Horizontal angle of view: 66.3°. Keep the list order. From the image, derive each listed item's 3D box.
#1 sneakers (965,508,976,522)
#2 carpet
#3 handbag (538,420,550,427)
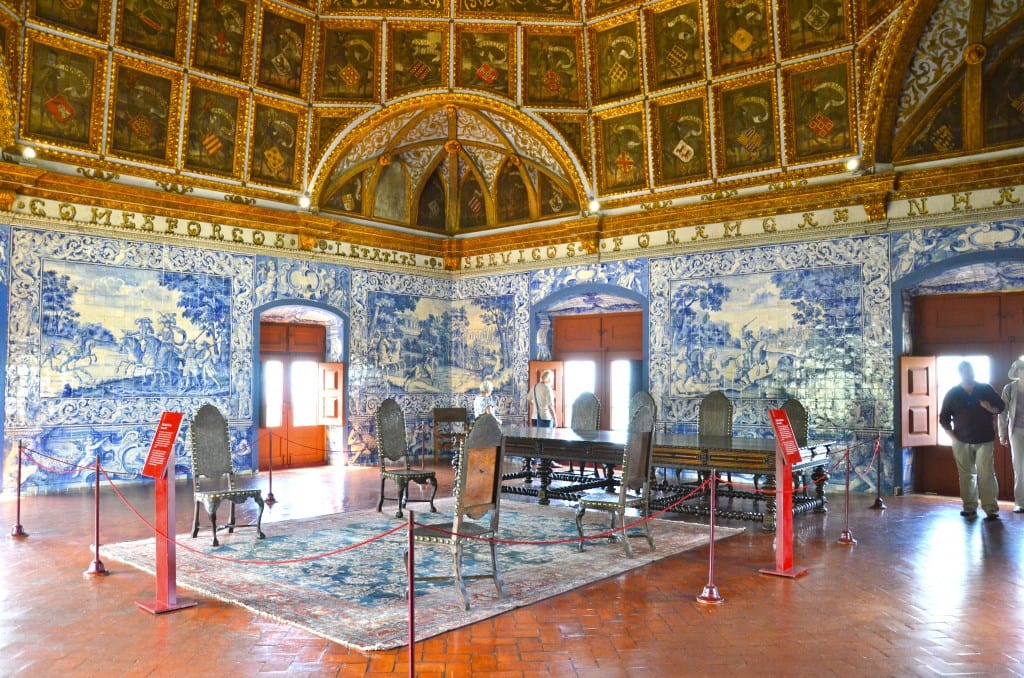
[{"bbox_3d":[7.198,2.792,12.315,0.172,0.154,0.132,4,-5,10],"label":"sneakers"},{"bbox_3d":[-1.256,3.020,10.337,7.540,0.990,4.162,3,-8,-18],"label":"carpet"},{"bbox_3d":[0.661,1.772,16.423,0.173,0.118,0.176,1,-1,18],"label":"handbag"}]
